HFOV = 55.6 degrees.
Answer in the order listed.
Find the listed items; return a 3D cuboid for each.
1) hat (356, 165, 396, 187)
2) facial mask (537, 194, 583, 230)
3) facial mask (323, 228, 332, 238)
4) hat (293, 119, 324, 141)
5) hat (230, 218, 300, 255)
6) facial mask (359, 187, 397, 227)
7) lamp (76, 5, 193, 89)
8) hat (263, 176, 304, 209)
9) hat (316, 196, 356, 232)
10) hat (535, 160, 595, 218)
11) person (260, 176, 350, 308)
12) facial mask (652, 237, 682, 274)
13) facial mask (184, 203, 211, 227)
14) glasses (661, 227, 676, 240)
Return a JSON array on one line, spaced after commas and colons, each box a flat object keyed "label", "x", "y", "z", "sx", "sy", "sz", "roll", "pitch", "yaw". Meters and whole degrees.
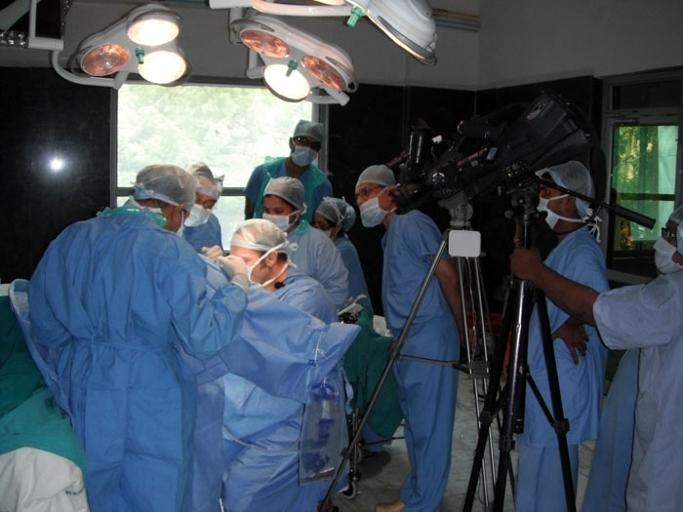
[{"label": "hat", "x": 0.187, "y": -0.458, "z": 3.717, "sx": 0.129, "sy": 0.163, "sz": 0.151, "roll": -3, "pitch": 6, "yaw": -17}, {"label": "facial mask", "x": 0.945, "y": -0.199, "z": 2.816, "sx": 0.160, "sy": 0.117, "sz": 0.145, "roll": 8, "pitch": 9, "yaw": 16}, {"label": "facial mask", "x": -0.096, "y": -0.157, "z": 4.391, "sx": 0.039, "sy": 0.057, "sz": 0.051, "roll": -2, "pitch": -21, "yaw": -2}, {"label": "hat", "x": -0.234, "y": -0.886, "z": 4.537, "sx": 0.154, "sy": 0.107, "sz": 0.161, "roll": 8, "pitch": 6, "yaw": -3}, {"label": "hat", "x": -0.359, "y": -0.087, "z": 2.906, "sx": 0.187, "sy": 0.104, "sz": 0.154, "roll": 16, "pitch": -3, "yaw": -13}, {"label": "facial mask", "x": 0.193, "y": -0.264, "z": 3.663, "sx": 0.197, "sy": 0.130, "sz": 0.170, "roll": -27, "pitch": 4, "yaw": -4}, {"label": "lamp", "x": -0.857, "y": -0.865, "z": 2.632, "sx": 0.436, "sy": 0.254, "sz": 0.362, "roll": 1, "pitch": 2, "yaw": -4}, {"label": "hat", "x": -0.340, "y": -0.390, "z": 3.705, "sx": 0.165, "sy": 0.159, "sz": 0.198, "roll": 14, "pitch": -13, "yaw": -39}, {"label": "hat", "x": -0.030, "y": -0.304, "z": 4.487, "sx": 0.247, "sy": 0.222, "sz": 0.182, "roll": 29, "pitch": 0, "yaw": -17}, {"label": "hat", "x": 0.959, "y": -0.332, "z": 2.765, "sx": 0.190, "sy": 0.115, "sz": 0.195, "roll": -3, "pitch": 3, "yaw": 8}, {"label": "person", "x": -0.286, "y": -0.084, "z": 3.840, "sx": 0.580, "sy": 0.798, "sz": 0.423, "roll": 11, "pitch": 27, "yaw": 39}, {"label": "facial mask", "x": 1.273, "y": 0.002, "z": 2.560, "sx": 0.111, "sy": 0.102, "sz": 0.102, "roll": 2, "pitch": 5, "yaw": 15}, {"label": "facial mask", "x": -0.774, "y": -0.219, "z": 3.462, "sx": 0.120, "sy": 0.081, "sz": 0.128, "roll": 5, "pitch": 10, "yaw": -42}, {"label": "glasses", "x": 1.282, "y": -0.089, "z": 2.554, "sx": 0.027, "sy": 0.037, "sz": 0.036, "roll": -25, "pitch": 40, "yaw": 1}]
